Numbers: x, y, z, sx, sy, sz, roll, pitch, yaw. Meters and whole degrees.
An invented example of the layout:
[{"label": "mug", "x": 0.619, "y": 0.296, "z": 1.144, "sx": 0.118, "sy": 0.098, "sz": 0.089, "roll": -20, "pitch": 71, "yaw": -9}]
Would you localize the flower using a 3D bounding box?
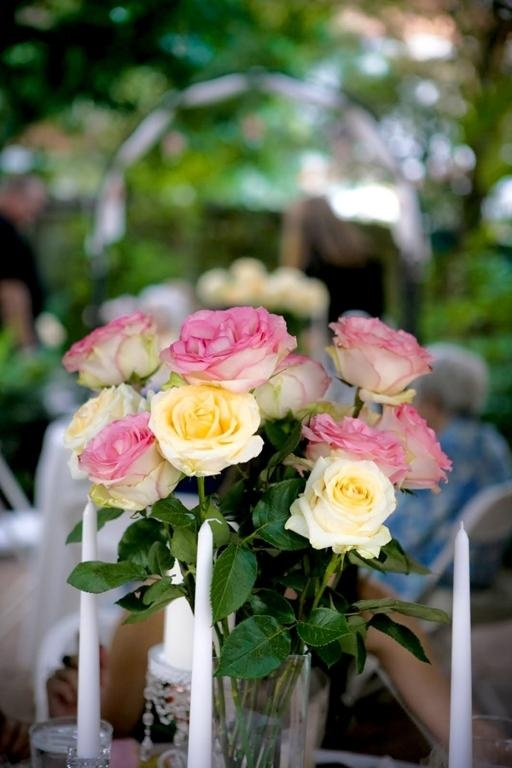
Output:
[{"label": "flower", "x": -0.007, "y": 0.130, "z": 0.847, "sx": 0.486, "sy": 0.357, "sz": 0.472, "roll": -1, "pitch": 85, "yaw": 16}]
